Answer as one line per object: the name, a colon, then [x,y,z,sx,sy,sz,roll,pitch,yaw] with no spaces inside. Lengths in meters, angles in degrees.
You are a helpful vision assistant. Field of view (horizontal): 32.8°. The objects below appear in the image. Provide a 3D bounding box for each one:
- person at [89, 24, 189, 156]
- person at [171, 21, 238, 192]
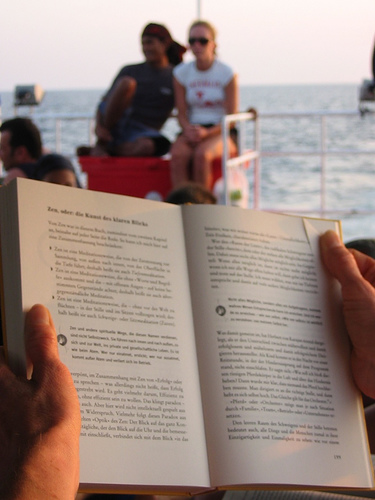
person: [-0.228,-0.881,3.522,0.464,0.797,0.522,6,5,-15]
person: [0.088,-0.752,3.303,0.353,0.870,0.434,0,11,0]
